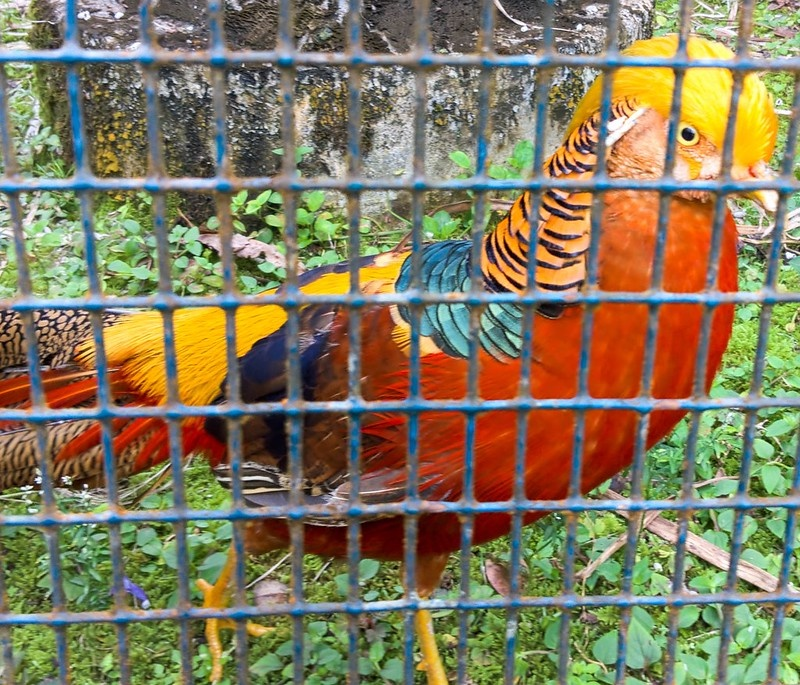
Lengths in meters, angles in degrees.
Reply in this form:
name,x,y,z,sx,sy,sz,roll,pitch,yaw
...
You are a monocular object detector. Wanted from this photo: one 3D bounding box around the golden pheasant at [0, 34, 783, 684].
name,x,y,z,sx,sy,sz,roll,pitch,yaw
golden pheasant,-0.027,0.053,1.885,1.266,1.335,0.761,11,31,16
